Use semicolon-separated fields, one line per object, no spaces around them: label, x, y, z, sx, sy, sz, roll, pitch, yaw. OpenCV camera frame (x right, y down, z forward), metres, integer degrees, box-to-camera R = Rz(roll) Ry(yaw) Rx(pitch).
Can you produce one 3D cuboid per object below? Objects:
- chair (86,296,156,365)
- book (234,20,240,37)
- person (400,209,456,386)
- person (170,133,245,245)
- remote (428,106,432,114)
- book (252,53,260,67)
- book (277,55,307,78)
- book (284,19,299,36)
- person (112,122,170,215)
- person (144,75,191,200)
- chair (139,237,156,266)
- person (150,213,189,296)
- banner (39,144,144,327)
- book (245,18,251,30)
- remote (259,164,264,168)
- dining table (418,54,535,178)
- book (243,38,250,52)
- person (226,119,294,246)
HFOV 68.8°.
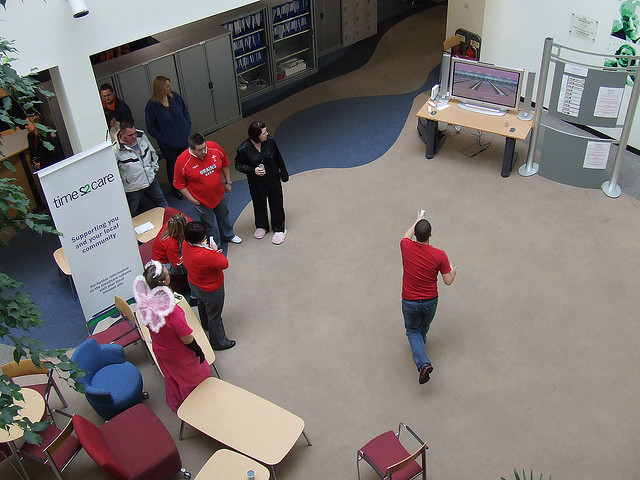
chair;-2.441;1.105;5.696;0.466;0.628;0.635;-17;59;-12
book;-1.748;-4.402;9.731;0.124;0.278;0.025;-26;35;-35
person;1.177;0.702;5.322;0.590;1.763;0.568;6;30;16
person;-1.695;-0.716;7.124;0.889;2.184;0.536;-27;51;-19
remote;1.993;-2.379;8.499;0.039;0.055;0.153;-1;82;4
book;-1.446;-3.981;10.302;0.142;0.369;0.094;-17;40;-19
book;-0.652;-4.004;10.928;0.632;0.254;0.386;-25;53;-20
book;-0.666;-4.790;10.520;0.329;0.259;0.047;-37;54;-27
person;-2.842;-1.126;7.321;0.589;1.509;0.357;-19;32;-27
person;-2.536;-1.797;8.038;0.689;2.018;0.528;-31;47;-30
chair;-2.406;0.161;6.459;0.261;0.271;0.197;-24;67;-14
person;-1.976;0.230;6.268;0.573;1.203;0.454;-11;36;-37
banner;-2.817;0.185;6.035;0.651;2.467;0.961;23;39;31
book;-1.534;-4.522;9.831;0.040;0.189;0.029;-33;44;-9
remote;-0.871;-1.085;6.869;0.069;0.043;0.077;-10;32;-10
dining table;2.772;-2.165;8.291;1.752;1.767;0.959;20;50;23
book;-1.605;-4.191;10.037;0.038;0.258;0.153;19;36;35
person;-0.921;-0.890;7.208;0.744;1.987;0.556;-10;39;-10
